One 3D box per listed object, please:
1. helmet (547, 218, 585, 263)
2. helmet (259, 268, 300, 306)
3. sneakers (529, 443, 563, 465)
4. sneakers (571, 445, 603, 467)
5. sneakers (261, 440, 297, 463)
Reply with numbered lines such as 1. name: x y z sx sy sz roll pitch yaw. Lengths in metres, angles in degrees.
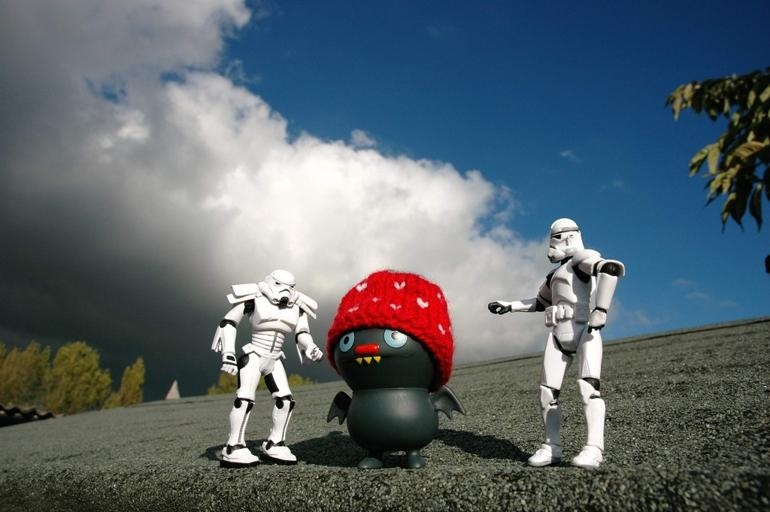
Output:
1. helmet: 1.991 -0.181 6.777 0.366 0.517 0.343 12 -18 -40
2. helmet: -1.272 0.374 7.529 0.466 0.451 0.537 5 -12 9
3. sneakers: 1.626 2.021 6.294 0.390 0.186 0.155 11 -19 -30
4. sneakers: 1.979 1.956 6.067 0.298 0.209 0.198 -7 0 15
5. sneakers: -1.242 2.252 7.165 0.524 0.221 0.177 -8 -15 44
